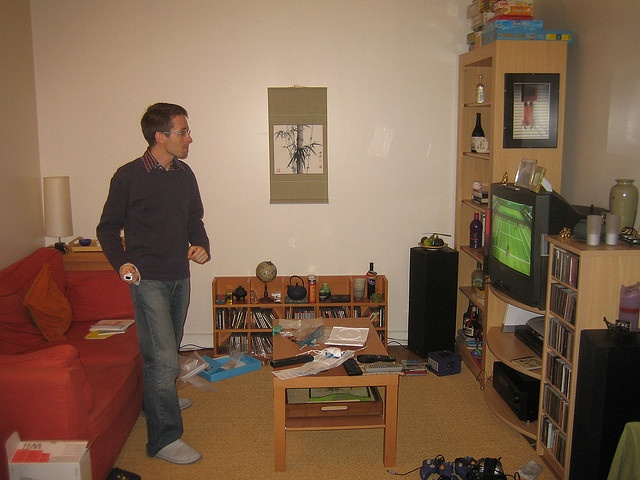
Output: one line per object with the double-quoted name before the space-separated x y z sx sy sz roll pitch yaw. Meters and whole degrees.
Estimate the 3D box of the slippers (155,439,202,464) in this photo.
"slippers" -0.948 1.384 3.356 0.235 0.096 0.145 3 4 7

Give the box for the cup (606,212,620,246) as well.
"cup" 1.780 -0.066 3.063 0.073 0.183 0.113 4 9 30

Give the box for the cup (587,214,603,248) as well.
"cup" 1.676 -0.065 3.074 0.079 0.185 0.184 4 9 29

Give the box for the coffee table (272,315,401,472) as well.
"coffee table" 0.133 1.005 3.517 0.597 0.499 0.932 0 12 -2

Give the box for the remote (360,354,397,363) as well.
"remote" 0.373 0.785 3.366 0.183 0.035 0.087 1 3 1

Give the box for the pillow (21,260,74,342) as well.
"pillow" -2.187 0.499 4.004 0.241 0.354 0.482 -3 37 -21

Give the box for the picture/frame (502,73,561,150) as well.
"picture/frame" 1.695 -1.043 3.990 0.531 0.775 0.058 0 5 9

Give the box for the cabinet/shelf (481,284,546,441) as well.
"cabinet/shelf" 1.436 0.904 3.694 0.349 0.915 0.948 1 8 3

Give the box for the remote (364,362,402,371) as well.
"remote" 0.403 0.818 3.273 0.241 0.037 0.143 0 8 -1

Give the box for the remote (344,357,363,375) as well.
"remote" 0.210 0.818 3.268 0.110 0.047 0.184 -1 8 -8

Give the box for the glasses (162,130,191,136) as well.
"glasses" -0.923 -0.696 3.264 0.181 0.039 0.063 -8 11 -43

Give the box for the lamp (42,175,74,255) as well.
"lamp" -2.420 -0.307 4.622 0.231 0.545 0.197 -4 9 -24

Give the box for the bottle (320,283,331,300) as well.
"bottle" 0.046 0.476 4.779 0.124 0.168 0.131 1 9 0

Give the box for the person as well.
"person" -1.057 0.289 3.330 0.717 2.354 0.470 -5 9 -28
